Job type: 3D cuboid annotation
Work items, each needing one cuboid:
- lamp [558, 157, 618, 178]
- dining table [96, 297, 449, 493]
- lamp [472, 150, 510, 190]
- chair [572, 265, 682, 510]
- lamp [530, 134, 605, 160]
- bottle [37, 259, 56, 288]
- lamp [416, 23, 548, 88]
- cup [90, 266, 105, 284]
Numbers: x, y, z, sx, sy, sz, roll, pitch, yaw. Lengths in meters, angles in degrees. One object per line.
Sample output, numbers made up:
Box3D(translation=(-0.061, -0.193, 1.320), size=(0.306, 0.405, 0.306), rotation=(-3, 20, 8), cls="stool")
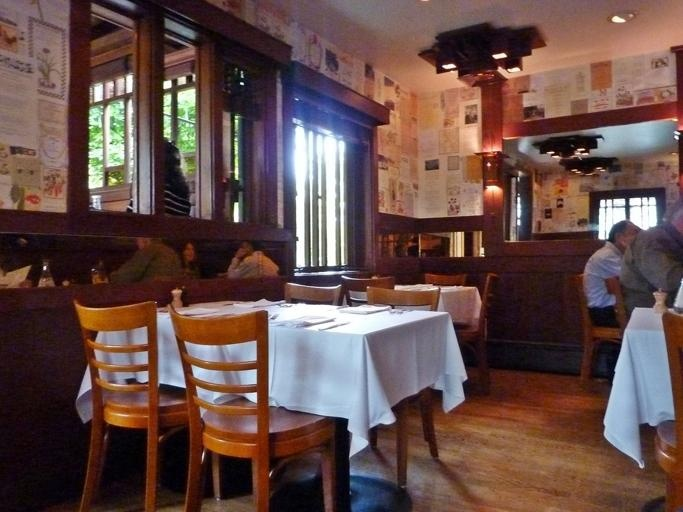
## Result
Box3D(translation=(3.232, -1.169, 7.409), size=(0.596, 0.206, 0.834), rotation=(5, 8, 43), cls="lamp")
Box3D(translation=(-0.407, 0.747, 3.009), size=(1.181, 0.292, 0.763), rotation=(1, 4, 27), cls="dining table")
Box3D(translation=(1.699, -0.978, 6.501), size=(0.330, 0.418, 0.186), rotation=(1, 7, 12), cls="lamp")
Box3D(translation=(2.421, 0.675, 5.097), size=(0.937, 1.384, 0.977), rotation=(-2, -2, 25), cls="chair")
Box3D(translation=(2.564, -1.238, 6.451), size=(0.742, 0.226, 0.437), rotation=(2, 6, 23), cls="lamp")
Box3D(translation=(-1.705, 0.096, 3.269), size=(0.053, 0.159, 0.085), rotation=(1, 7, 8), cls="bottle")
Box3D(translation=(1.345, -1.888, 5.441), size=(1.180, 0.490, 0.524), rotation=(0, 6, 5), cls="lamp")
Box3D(translation=(-1.494, 0.119, 3.476), size=(0.093, 0.123, 0.093), rotation=(1, 3, 0), cls="cup")
